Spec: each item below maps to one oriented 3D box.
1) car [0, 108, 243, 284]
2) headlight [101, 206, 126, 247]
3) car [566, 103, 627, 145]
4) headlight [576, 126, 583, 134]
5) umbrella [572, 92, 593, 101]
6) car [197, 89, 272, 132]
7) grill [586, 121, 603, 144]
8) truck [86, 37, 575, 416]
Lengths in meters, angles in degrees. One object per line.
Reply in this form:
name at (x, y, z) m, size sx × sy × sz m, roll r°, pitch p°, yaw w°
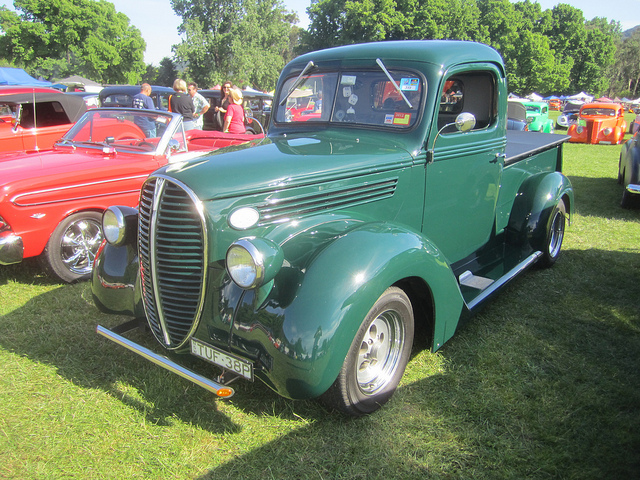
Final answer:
car at (-2.551, -0.772, 6.627) m, size 1.630 × 1.492 × 3.109 m, roll 13°, pitch 17°, yaw 40°
headlight at (-1.757, -0.112, 4.326) m, size 0.324 × 0.425 × 0.152 m, roll 4°, pitch 4°, yaw 37°
car at (10.161, -4.069, 18.366) m, size 1.284 × 1.168 × 2.334 m, roll 5°, pitch 23°, yaw 31°
headlight at (9.118, -3.885, 17.781) m, size 0.187 × 0.265 × 0.069 m, roll 6°, pitch 7°, yaw 20°
umbrella at (27.993, -15.294, 53.857) m, size 1.659 × 0.868 × 1.730 m, roll -7°, pitch 12°, yaw -23°
car at (-2.219, -3.649, 13.967) m, size 1.233 × 1.173 × 2.256 m, roll 22°, pitch 31°, yaw 33°
grill at (9.433, -3.725, 17.571) m, size 0.454 × 0.736 × 0.196 m, roll 11°, pitch 16°, yaw 28°
truck at (0.473, -0.309, 5.102) m, size 2.585 × 2.577 × 4.825 m, roll 13°, pitch 23°, yaw 43°
